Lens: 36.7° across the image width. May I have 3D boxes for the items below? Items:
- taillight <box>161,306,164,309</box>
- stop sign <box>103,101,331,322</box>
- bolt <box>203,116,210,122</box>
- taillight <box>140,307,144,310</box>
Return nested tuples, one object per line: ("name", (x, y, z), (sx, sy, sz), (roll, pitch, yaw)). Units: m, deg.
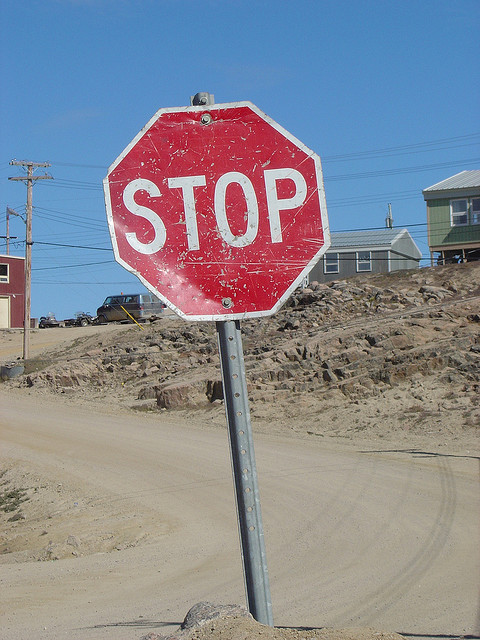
("taillight", (-4.130, -0.656, 38.445), (0.026, 0.169, 0.166), (-27, -14, 35))
("stop sign", (-0.087, -0.418, 2.798), (0.745, 0.745, 0.083), (-8, -9, 0))
("bolt", (-0.133, -0.798, 2.888), (0.021, 0.022, 0.005), (2, -1, -3))
("taillight", (-5.522, -0.637, 40.899), (0.149, 0.147, 0.085), (1, 5, 7))
